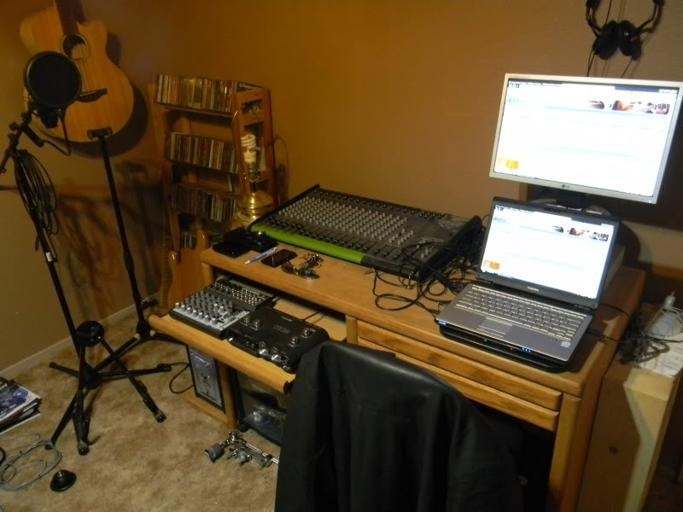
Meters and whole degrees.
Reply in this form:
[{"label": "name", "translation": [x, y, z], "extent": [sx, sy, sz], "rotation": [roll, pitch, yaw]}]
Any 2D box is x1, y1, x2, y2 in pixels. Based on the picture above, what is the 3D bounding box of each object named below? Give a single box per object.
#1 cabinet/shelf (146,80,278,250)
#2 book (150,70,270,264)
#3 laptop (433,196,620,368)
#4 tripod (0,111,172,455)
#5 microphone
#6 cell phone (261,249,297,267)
[{"label": "cabinet/shelf", "translation": [-0.752, -0.577, 3.223], "extent": [0.779, 1.169, 0.330], "rotation": [15, 24, 39]}, {"label": "book", "translation": [-0.762, -0.569, 3.199], "extent": [0.889, 1.325, 0.373], "rotation": [15, 22, 40]}, {"label": "laptop", "translation": [0.670, 0.079, 1.985], "extent": [0.523, 0.495, 0.339], "rotation": [15, 22, 25]}, {"label": "tripod", "translation": [-1.448, 0.084, 2.983], "extent": [0.629, 1.616, 1.137], "rotation": [-9, 24, -35]}, {"label": "microphone", "translation": [-1.345, -0.768, 2.535], "extent": [0.235, 0.342, 0.097], "rotation": [-6, 22, -30]}, {"label": "cell phone", "translation": [-0.289, 0.005, 2.519], "extent": [0.075, 0.023, 0.116], "rotation": [20, 41, 32]}]
